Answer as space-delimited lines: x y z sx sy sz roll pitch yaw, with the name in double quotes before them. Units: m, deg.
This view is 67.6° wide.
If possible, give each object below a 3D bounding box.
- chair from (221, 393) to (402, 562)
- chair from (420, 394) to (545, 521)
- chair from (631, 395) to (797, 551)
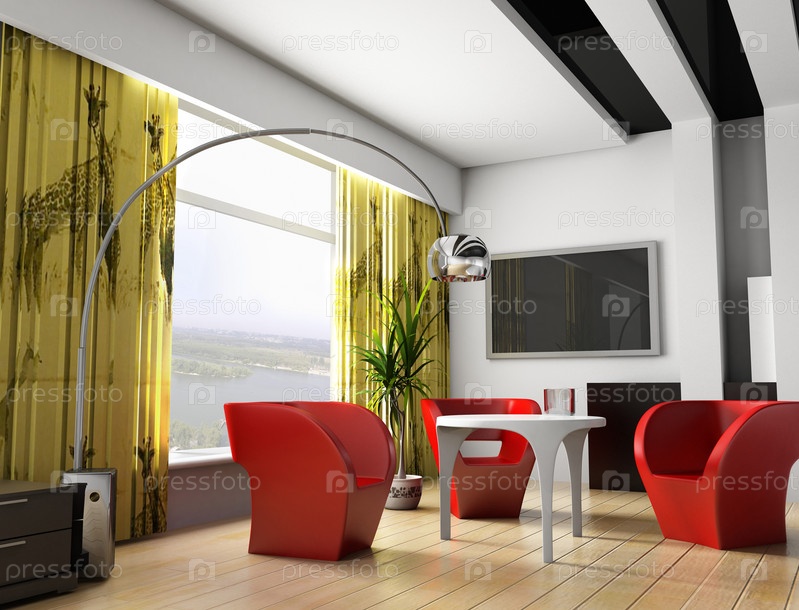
"chair" -0.525 1.117 3.903 0.783 0.997 1.009 -6 -12 16
"chair" 0.670 1.252 4.885 0.834 0.913 0.674 1 -11 -5
"chair" 2.049 1.109 4.047 0.838 1.089 1.071 13 -19 -21
